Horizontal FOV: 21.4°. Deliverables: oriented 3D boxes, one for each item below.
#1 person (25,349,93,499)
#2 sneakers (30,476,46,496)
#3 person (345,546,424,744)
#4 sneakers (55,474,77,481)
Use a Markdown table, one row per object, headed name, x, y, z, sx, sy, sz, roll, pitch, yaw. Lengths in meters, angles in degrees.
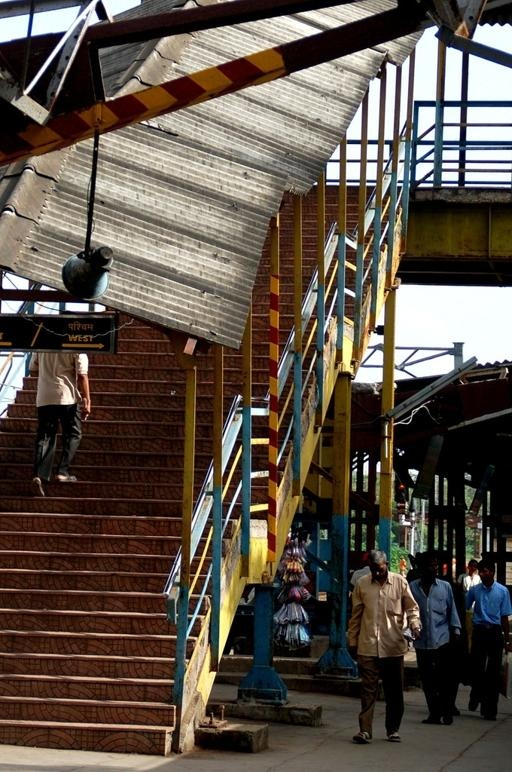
| name | x | y | z | sx | sy | sz | roll | pitch | yaw |
| --- | --- | --- | --- | --- | --- | --- | --- | --- | --- |
| person | -1.757 | 0.322 | 11.531 | 0.518 | 1.363 | 0.978 | 6 | -12 | -10 |
| sneakers | -1.839 | 0.811 | 10.980 | 0.059 | 0.213 | 0.087 | -7 | 14 | 2 |
| person | 1.032 | 2.092 | 10.865 | 0.591 | 1.536 | 0.581 | 4 | -11 | 1 |
| sneakers | -1.610 | 0.754 | 11.098 | 0.151 | 0.077 | 0.058 | 0 | 2 | -26 |
